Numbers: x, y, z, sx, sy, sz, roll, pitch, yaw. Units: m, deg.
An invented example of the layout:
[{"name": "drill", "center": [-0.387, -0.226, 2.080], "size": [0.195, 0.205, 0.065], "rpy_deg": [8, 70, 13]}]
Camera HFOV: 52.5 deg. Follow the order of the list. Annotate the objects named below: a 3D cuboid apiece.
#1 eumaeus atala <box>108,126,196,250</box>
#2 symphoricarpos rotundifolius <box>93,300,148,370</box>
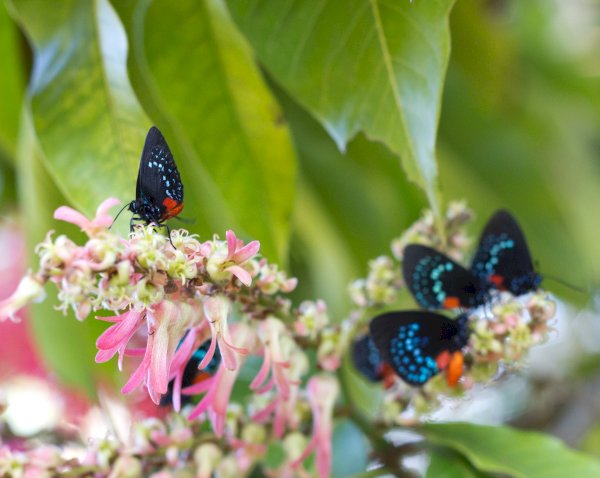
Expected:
[{"name": "eumaeus atala", "center": [-0.163, -0.059, 0.664], "size": [0.076, 0.132, 0.088], "rpy_deg": [-11, 17, -23]}, {"name": "symphoricarpos rotundifolius", "center": [-0.174, 0.090, 0.586], "size": [0.020, 0.061, 0.054], "rpy_deg": [6, 12, 41]}]
